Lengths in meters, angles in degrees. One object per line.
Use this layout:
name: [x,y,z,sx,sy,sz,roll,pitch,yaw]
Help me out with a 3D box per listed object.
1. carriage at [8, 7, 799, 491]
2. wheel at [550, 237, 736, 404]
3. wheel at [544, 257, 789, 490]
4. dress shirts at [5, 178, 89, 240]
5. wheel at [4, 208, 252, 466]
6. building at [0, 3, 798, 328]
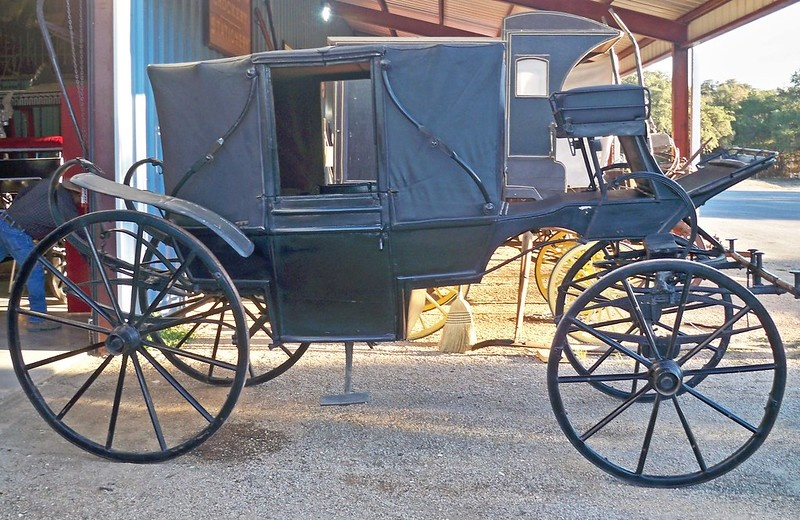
carriage: [-0.179,0.015,7.085,6.439,2.675,2.309,1,5,3]
wheel: [1.967,0.437,6.611,1.769,1.438,0.409,1,5,37]
wheel: [1.931,0.848,6.187,0.469,1.613,1.903,8,-2,-43]
dress shirts: [-3.173,-0.437,7.558,0.718,0.548,0.345,-21,11,0]
wheel: [-2.161,0.658,6.738,1.740,1.576,0.412,31,9,0]
building: [-0.370,-0.857,7.696,5.766,2.285,2.152,0,11,2]
